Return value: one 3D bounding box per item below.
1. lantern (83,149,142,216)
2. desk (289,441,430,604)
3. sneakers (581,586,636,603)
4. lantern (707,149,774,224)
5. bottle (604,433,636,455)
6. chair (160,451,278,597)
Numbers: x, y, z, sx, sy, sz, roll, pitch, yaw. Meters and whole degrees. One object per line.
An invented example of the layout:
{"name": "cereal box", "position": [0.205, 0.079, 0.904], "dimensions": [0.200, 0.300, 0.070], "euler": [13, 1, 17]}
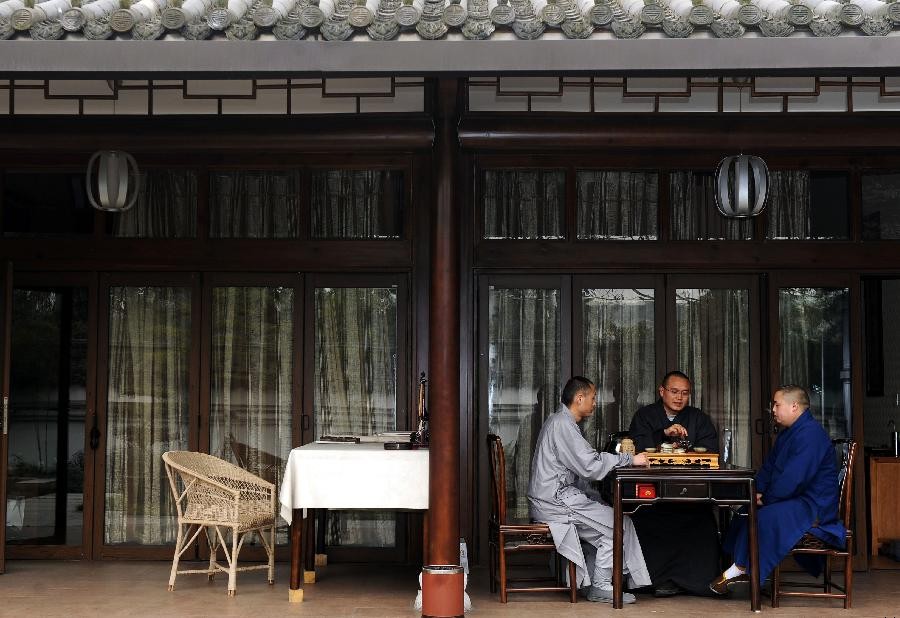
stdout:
{"name": "lantern", "position": [-2.478, -0.928, 10.061], "dimensions": [0.414, 0.635, 0.443], "euler": [3, 4, 24]}
{"name": "desk", "position": [-0.699, 1.526, 9.916], "dimensions": [1.056, 1.138, 0.572], "euler": [-1, -7, -7]}
{"name": "sneakers", "position": [1.165, 2.067, 10.025], "dimensions": [0.252, 0.114, 0.153], "euler": [-3, -8, 4]}
{"name": "lantern", "position": [2.140, -0.859, 9.806], "dimensions": [0.407, 0.607, 0.435], "euler": [-1, -1, 19]}
{"name": "bottle", "position": [1.288, 1.027, 10.471], "dimensions": [0.160, 0.165, 0.161], "euler": [8, -12, -30]}
{"name": "chair", "position": [-1.760, 1.603, 10.445], "dimensions": [0.839, 1.038, 0.854], "euler": [2, -3, -11]}
